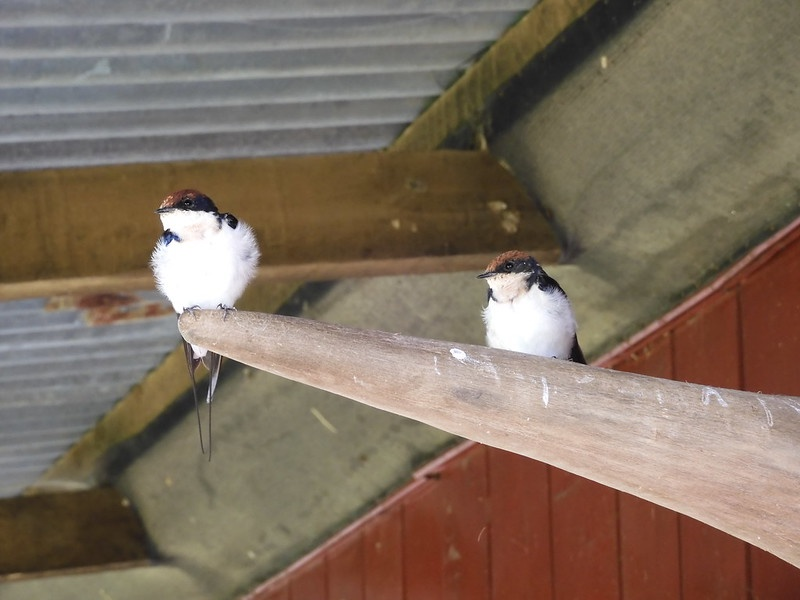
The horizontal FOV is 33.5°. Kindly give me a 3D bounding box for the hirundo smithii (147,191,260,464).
[{"bbox_3d":[-0.538,0.058,3.527,0.265,0.664,0.201,0,6,1],"label":"hirundo smithii"}]

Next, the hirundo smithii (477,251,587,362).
[{"bbox_3d":[0.334,0.018,3.523,0.247,0.262,0.122,0,14,-18],"label":"hirundo smithii"}]
